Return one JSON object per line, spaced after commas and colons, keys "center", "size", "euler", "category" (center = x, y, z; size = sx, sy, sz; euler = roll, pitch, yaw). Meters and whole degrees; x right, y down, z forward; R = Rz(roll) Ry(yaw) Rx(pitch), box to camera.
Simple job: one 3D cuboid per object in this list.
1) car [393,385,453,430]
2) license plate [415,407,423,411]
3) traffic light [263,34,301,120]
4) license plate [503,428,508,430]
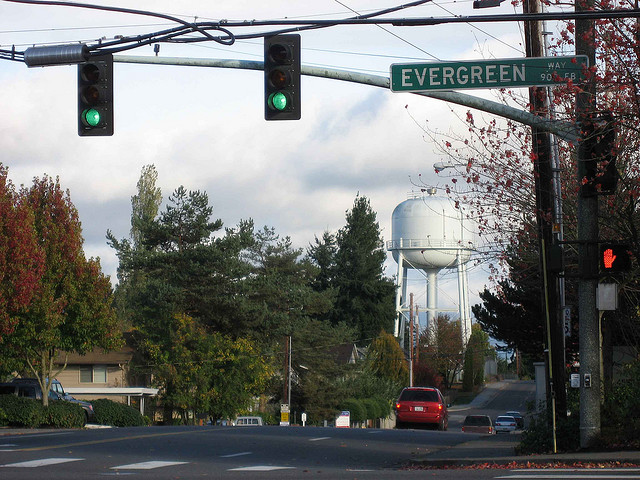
{"center": [3.872, 6.493, 43.543], "size": [1.890, 1.668, 2.158], "euler": [-2, -7, 3], "category": "car"}
{"center": [3.737, 6.414, 42.959], "size": [0.284, 0.124, 0.041], "euler": [-3, -7, 12], "category": "license plate"}
{"center": [-0.937, -4.009, 27.629], "size": [0.866, 2.103, 0.373], "euler": [-1, -7, -2], "category": "traffic light"}
{"center": [10.373, 10.594, 63.531], "size": [0.067, 0.072, 0.298], "euler": [6, -11, -45], "category": "license plate"}
